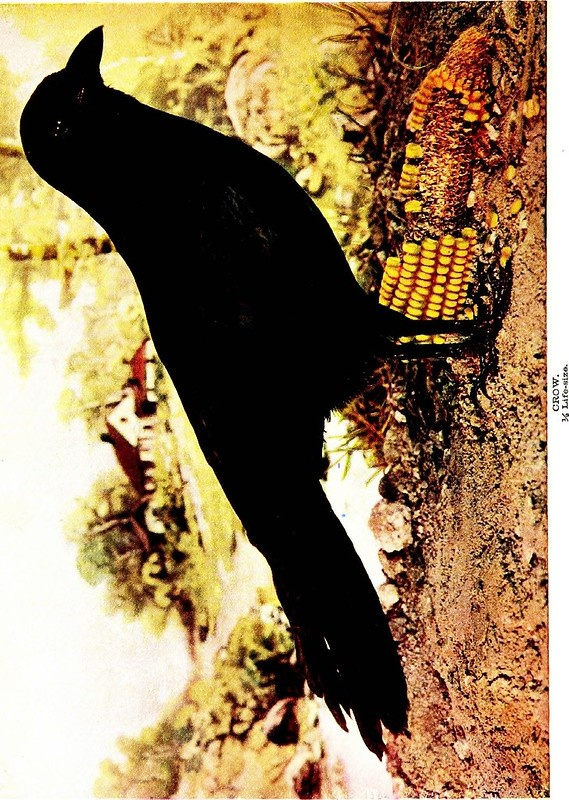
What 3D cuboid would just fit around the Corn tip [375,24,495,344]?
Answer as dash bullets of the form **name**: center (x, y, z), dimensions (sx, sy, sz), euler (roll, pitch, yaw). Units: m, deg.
- **Corn tip**: center (0.244, -0.345, 2.537), dimensions (0.130, 0.497, 0.133), euler (4, 9, 2)
